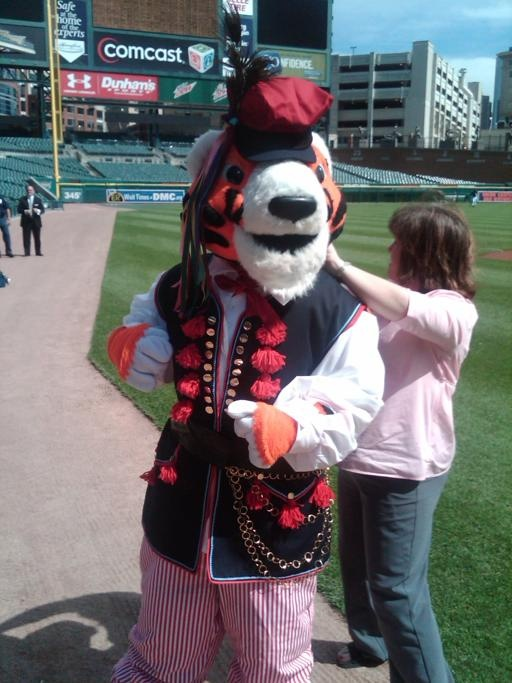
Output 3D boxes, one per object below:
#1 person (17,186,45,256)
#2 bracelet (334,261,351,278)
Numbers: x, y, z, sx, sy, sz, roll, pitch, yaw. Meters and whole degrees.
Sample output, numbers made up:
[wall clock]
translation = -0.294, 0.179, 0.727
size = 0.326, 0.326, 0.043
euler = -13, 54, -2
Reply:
[person]
translation = -4.826, -2.587, 13.061
size = 0.505, 1.429, 1.127
euler = -5, 19, -19
[bracelet]
translation = 0.231, -0.197, 1.622
size = 0.042, 0.011, 0.039
euler = 2, 44, 10
